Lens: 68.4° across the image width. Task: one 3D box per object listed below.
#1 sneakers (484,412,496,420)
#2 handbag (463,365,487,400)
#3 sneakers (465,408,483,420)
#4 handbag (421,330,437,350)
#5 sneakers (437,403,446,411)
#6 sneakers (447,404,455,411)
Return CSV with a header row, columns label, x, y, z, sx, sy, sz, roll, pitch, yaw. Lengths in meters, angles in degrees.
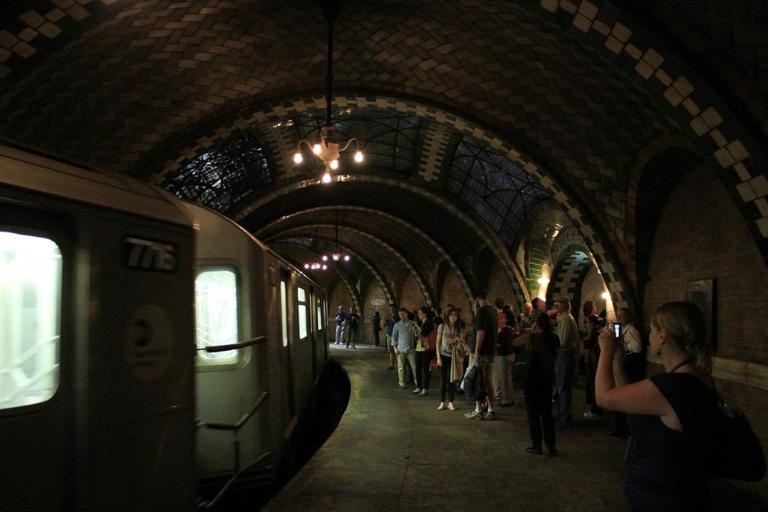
label,x,y,z,sx,sy,sz,roll,pitch,yaw
sneakers,1.726,2.624,9.173,0.162,0.061,0.118,1,-3,6
handbag,1.409,2.005,8.867,0.293,0.565,0.405,-7,-10,-24
sneakers,1.474,2.619,9.298,0.136,0.152,0.314,14,-15,-40
handbag,0.914,1.705,11.415,0.327,0.448,0.226,-8,-4,-25
sneakers,1.022,2.703,10.022,0.197,0.146,0.077,7,-13,-23
sneakers,1.203,2.718,10.013,0.062,0.103,0.150,-1,-25,-2
